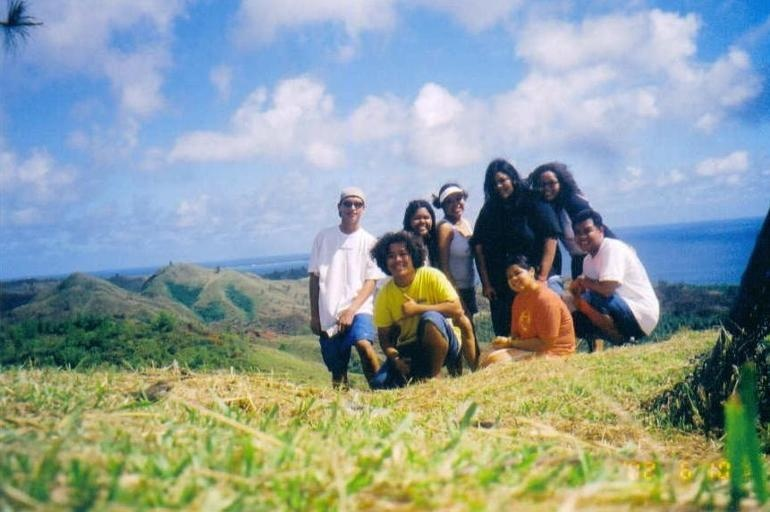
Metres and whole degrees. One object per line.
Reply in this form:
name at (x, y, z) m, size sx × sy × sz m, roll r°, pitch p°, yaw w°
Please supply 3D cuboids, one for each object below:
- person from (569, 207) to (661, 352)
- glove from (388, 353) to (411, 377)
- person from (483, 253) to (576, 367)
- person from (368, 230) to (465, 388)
person at (2.637, 0.293, 6.151) m, size 0.936 × 1.685 × 0.517 m, roll 0°, pitch 3°, yaw 18°
glove at (0.172, 1.144, 5.728) m, size 0.083 × 0.260 × 0.195 m, roll -47°, pitch -12°, yaw 20°
person at (1.503, 0.645, 5.745) m, size 1.068 × 1.186 × 0.837 m, roll -3°, pitch -1°, yaw -18°
person at (0.343, 0.575, 5.837) m, size 0.992 × 1.719 × 0.617 m, roll 0°, pitch 3°, yaw 6°
